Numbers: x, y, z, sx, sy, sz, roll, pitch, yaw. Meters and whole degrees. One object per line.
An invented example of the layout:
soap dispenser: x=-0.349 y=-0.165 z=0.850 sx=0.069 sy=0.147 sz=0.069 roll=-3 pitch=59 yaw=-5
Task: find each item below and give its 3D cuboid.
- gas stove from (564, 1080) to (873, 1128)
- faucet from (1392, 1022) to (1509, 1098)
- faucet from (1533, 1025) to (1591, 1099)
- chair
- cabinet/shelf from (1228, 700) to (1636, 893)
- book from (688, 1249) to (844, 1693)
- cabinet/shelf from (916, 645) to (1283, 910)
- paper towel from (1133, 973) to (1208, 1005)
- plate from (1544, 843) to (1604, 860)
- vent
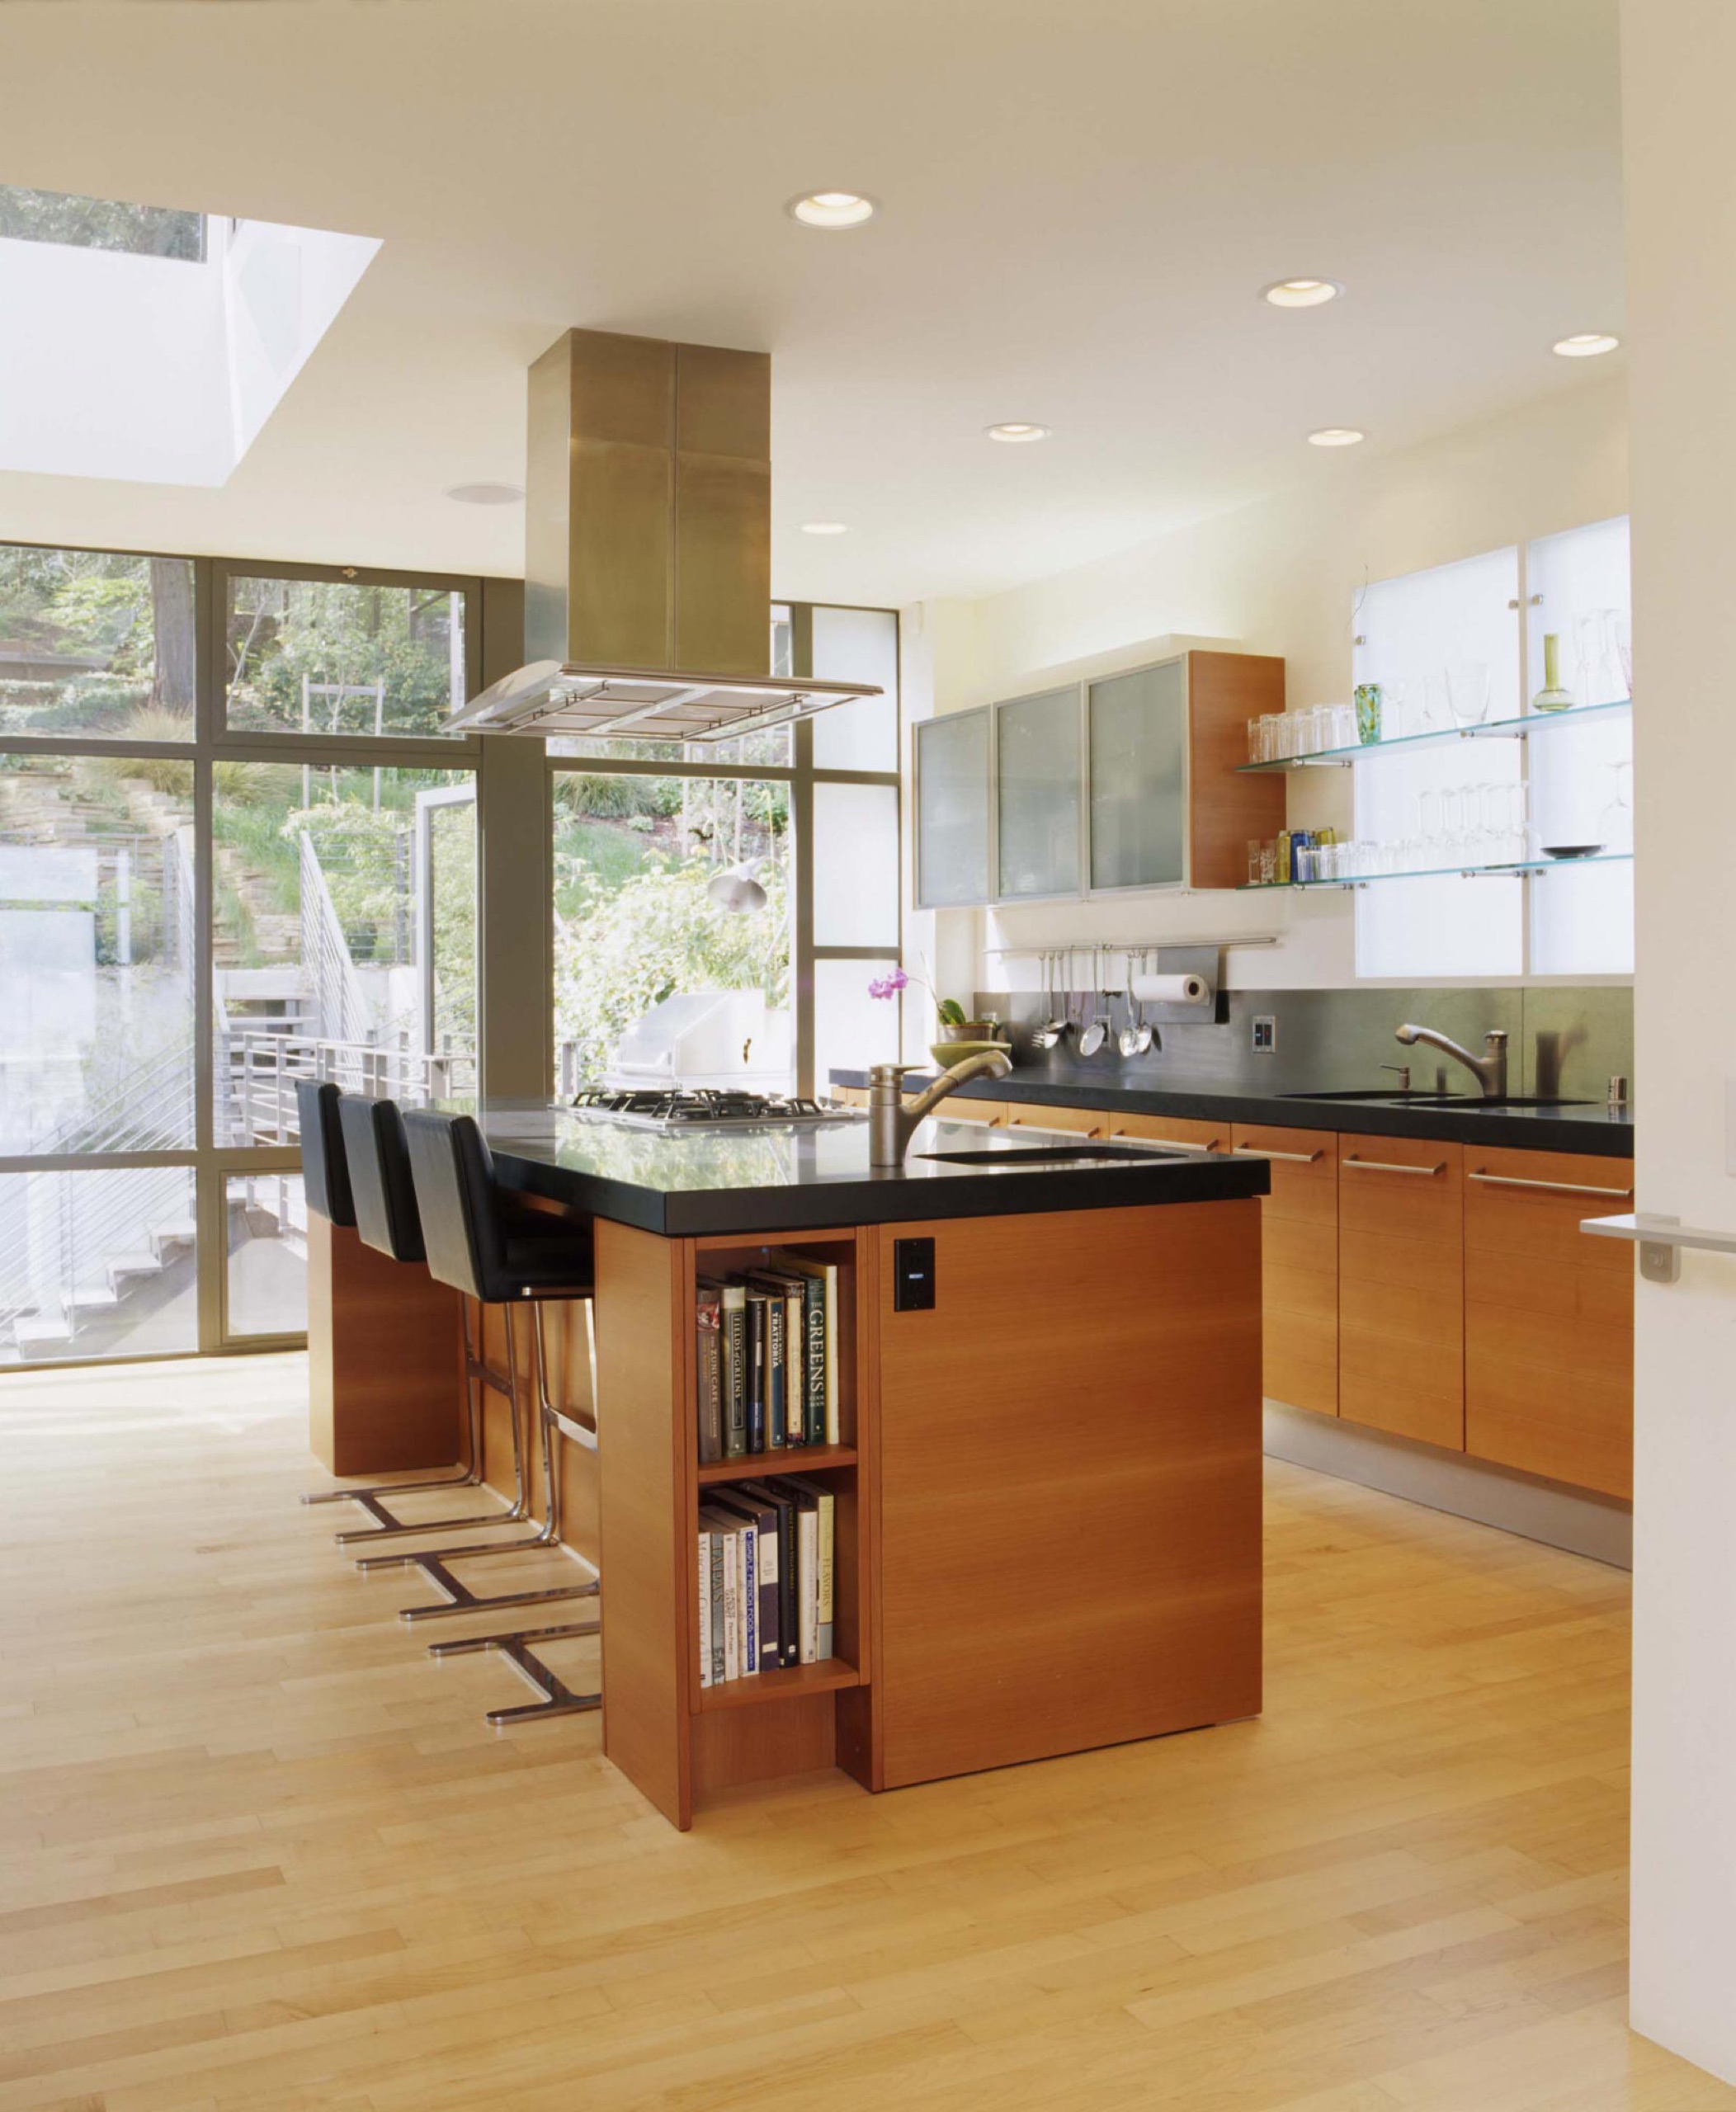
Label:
gas stove: x=-0.371 y=0.112 z=4.280 sx=0.551 sy=0.046 sz=0.738 roll=-1 pitch=1 yaw=-14
faucet: x=1.479 y=0.012 z=4.782 sx=0.252 sy=0.187 sz=0.669 roll=-1 pitch=1 yaw=16
faucet: x=1.668 y=0.016 z=4.589 sx=0.047 sy=0.175 sz=0.151 roll=-1 pitch=1 yaw=-18
chair: x=-0.867 y=0.728 z=3.889 sx=0.324 sy=0.623 sz=1.038 roll=-2 pitch=3 yaw=-23
cabinet/shelf: x=1.497 y=-0.717 z=4.895 sx=0.196 sy=0.514 sz=1.333 roll=-2 pitch=1 yaw=-24
book: x=-0.143 y=0.578 z=2.703 sx=0.228 sy=0.565 sz=0.236 roll=-1 pitch=1 yaw=-9
cabinet/shelf: x=0.727 y=-0.862 z=6.169 sx=0.339 sy=0.732 sz=1.677 roll=-2 pitch=1 yaw=-29
paper towel: x=0.938 y=-0.210 z=5.988 sx=0.160 sy=0.094 sz=0.405 roll=-1 pitch=1 yaw=-17
plate: x=1.675 y=-0.490 z=4.502 sx=0.121 sy=0.050 sz=0.152 roll=-1 pitch=1 yaw=19
vent: x=-0.382 y=-1.240 z=4.427 sx=0.956 sy=0.766 sz=0.759 roll=12 pitch=30 yaw=17
